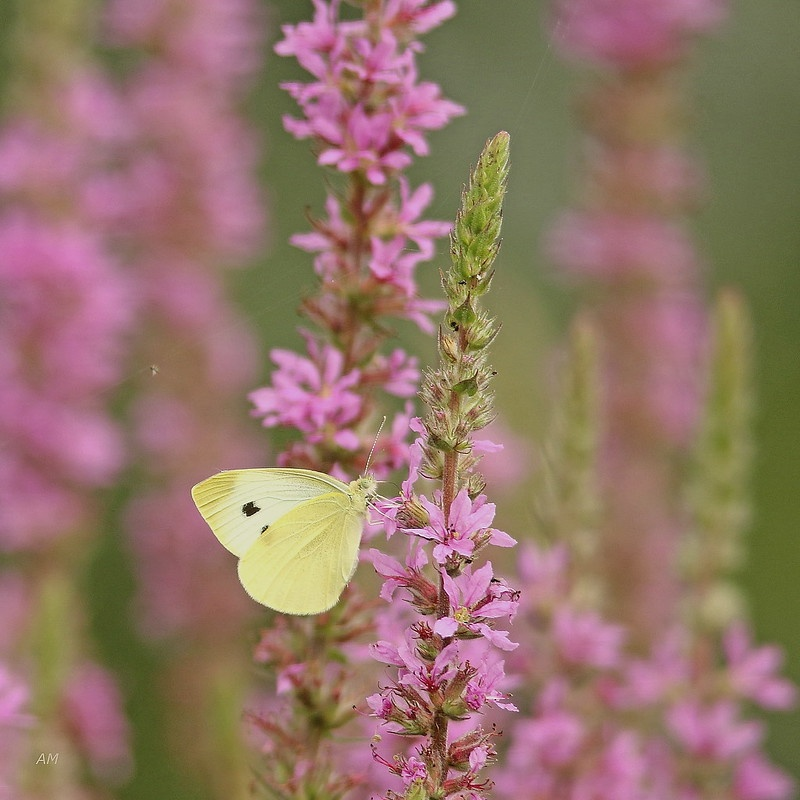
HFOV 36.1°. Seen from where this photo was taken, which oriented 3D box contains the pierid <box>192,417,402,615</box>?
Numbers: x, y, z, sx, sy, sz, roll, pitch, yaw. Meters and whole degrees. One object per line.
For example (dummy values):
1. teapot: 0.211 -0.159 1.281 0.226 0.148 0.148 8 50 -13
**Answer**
1. pierid: -0.077 0.123 1.656 0.320 0.306 0.216 -6 94 15
